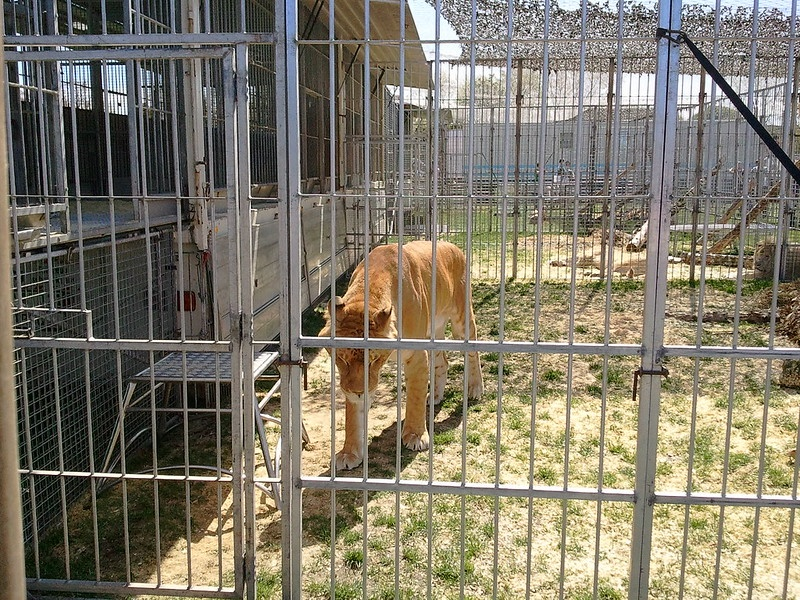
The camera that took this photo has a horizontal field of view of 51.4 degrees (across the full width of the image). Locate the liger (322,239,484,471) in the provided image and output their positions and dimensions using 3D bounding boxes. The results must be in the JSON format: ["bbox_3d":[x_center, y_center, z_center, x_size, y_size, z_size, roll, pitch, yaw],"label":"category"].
[{"bbox_3d":[0.184,0.327,8.237,0.708,1.927,3.138,3,15,24],"label":"liger"}]

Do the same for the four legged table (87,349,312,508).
[{"bbox_3d":[-1.518,0.777,7.079,1.482,1.060,1.944,0,4,13],"label":"four legged table"}]
